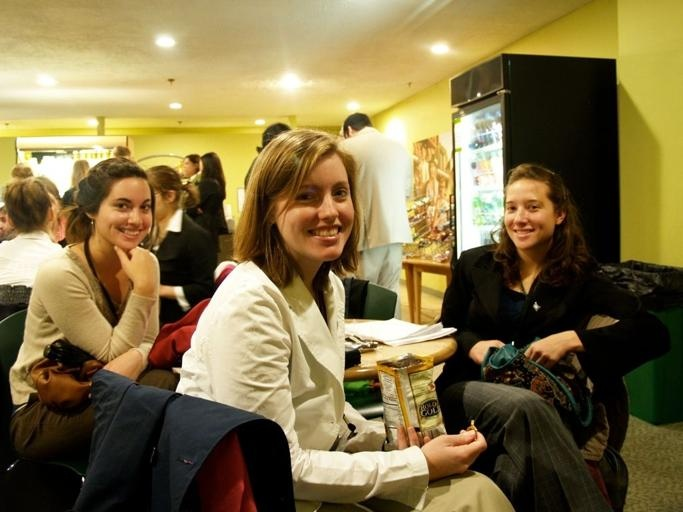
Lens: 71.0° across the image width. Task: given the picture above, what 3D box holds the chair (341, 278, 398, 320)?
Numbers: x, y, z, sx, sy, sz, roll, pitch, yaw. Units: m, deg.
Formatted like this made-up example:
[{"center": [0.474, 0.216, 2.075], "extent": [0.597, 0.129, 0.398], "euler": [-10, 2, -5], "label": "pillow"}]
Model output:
[{"center": [0.159, 0.235, 2.836], "extent": [0.276, 0.289, 0.241], "euler": [3, -1, -38], "label": "chair"}]

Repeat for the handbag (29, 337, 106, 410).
[{"center": [-1.000, 0.425, 1.714], "extent": [0.178, 0.225, 0.176], "euler": [-2, 29, 16], "label": "handbag"}]
